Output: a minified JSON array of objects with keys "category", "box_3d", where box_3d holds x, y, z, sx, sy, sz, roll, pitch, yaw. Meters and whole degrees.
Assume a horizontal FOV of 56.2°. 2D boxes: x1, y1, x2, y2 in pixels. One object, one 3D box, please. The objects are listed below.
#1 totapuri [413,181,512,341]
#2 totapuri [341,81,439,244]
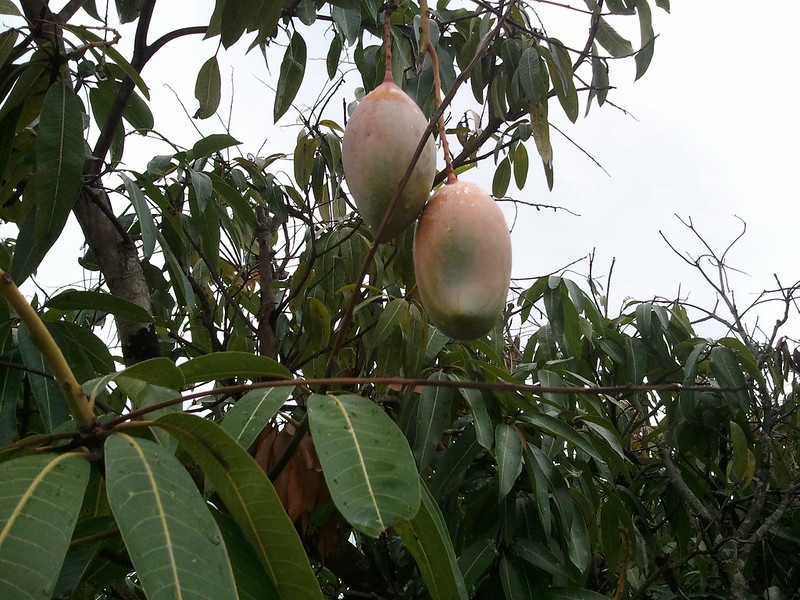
[{"category":"totapuri","box_3d":[0.107,-0.069,1.278,0.139,0.286,0.153,-6,-7,6]},{"category":"totapuri","box_3d":[-0.019,-0.242,1.295,0.163,0.245,0.166,-4,-42,4]}]
